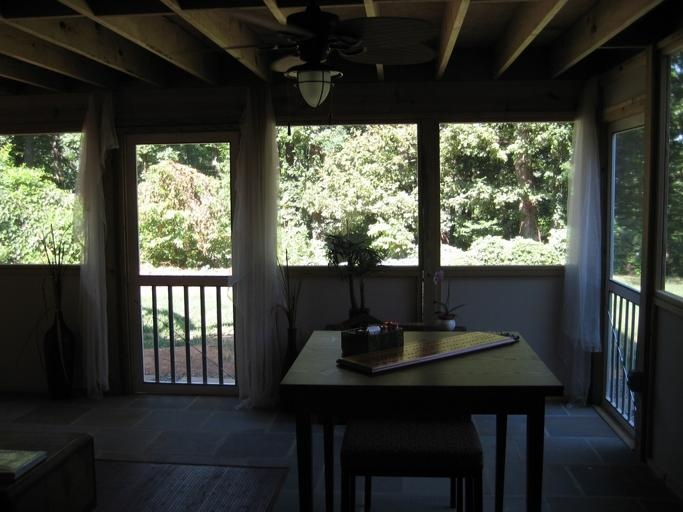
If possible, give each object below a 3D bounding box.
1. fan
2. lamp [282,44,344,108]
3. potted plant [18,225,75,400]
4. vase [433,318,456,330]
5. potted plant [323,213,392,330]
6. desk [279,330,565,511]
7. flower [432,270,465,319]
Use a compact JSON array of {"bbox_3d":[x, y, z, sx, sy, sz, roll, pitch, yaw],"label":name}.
[{"bbox_3d":[0.033,-1.115,2.915,0.899,0.301,0.736,1,10,9],"label":"fan"},{"bbox_3d":[-0.130,-0.890,2.873,0.285,0.282,0.282,-1,0,-25],"label":"lamp"},{"bbox_3d":[-2.578,0.515,5.023,0.275,1.508,0.606,-6,11,-27],"label":"potted plant"},{"bbox_3d":[0.822,0.540,4.346,0.100,0.054,0.098,1,-1,-38],"label":"vase"},{"bbox_3d":[0.135,0.152,4.633,0.545,0.903,0.658,-1,10,-2],"label":"potted plant"},{"bbox_3d":[0.382,1.148,2.917,1.215,1.233,0.952,0,11,3],"label":"desk"},{"bbox_3d":[0.884,0.325,4.591,0.258,0.429,0.502,1,10,11],"label":"flower"}]
